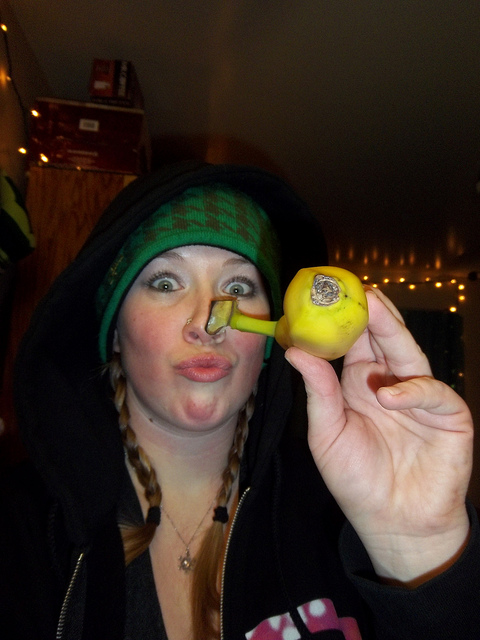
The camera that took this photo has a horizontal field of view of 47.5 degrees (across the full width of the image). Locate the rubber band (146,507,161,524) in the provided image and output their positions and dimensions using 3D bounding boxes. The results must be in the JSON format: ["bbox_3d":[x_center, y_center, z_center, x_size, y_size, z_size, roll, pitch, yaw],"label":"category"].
[{"bbox_3d":[-0.200,0.451,1.269,0.029,0.034,0.036,-3,1,-1],"label":"rubber band"}]

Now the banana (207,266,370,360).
[{"bbox_3d":[0.069,-0.009,0.895,0.267,0.131,0.134,-3,49,6],"label":"banana"}]

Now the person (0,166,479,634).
[{"bbox_3d":[-0.042,0.269,1.346,0.924,1.175,0.355,0,6,-7],"label":"person"}]

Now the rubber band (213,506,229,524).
[{"bbox_3d":[-0.046,0.457,1.290,0.035,0.034,0.036,5,-8,-14],"label":"rubber band"}]
